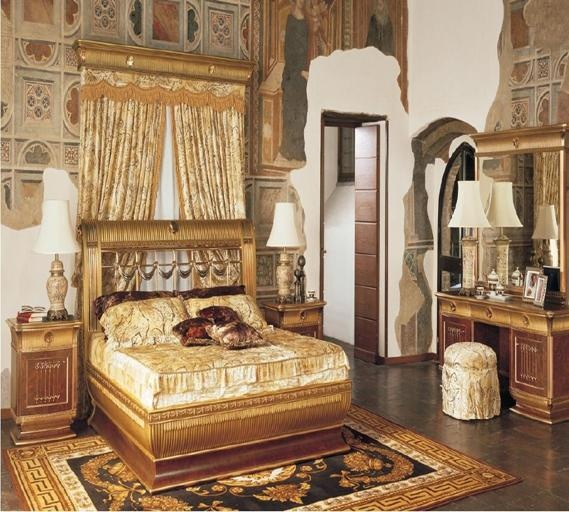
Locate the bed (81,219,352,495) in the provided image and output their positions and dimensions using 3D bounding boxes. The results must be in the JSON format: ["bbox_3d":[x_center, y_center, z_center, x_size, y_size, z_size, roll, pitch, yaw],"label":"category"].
[{"bbox_3d":[-0.697,0.768,5.087,1.950,2.066,2.002,-2,3,-26],"label":"bed"}]

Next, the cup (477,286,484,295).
[{"bbox_3d":[2.049,0.363,6.025,0.080,0.097,0.098,1,-2,-5],"label":"cup"}]

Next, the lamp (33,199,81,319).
[{"bbox_3d":[-1.984,0.022,5.077,0.351,1.029,0.513,-3,4,-22],"label":"lamp"}]

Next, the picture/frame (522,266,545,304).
[{"bbox_3d":[2.390,0.285,5.540,0.037,0.414,0.318,6,-4,-19],"label":"picture/frame"}]

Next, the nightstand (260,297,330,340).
[{"bbox_3d":[0.106,0.557,6.172,0.527,0.563,0.413,-1,0,-36],"label":"nightstand"}]

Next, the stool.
[{"bbox_3d":[1.699,1.159,5.490,0.536,0.655,0.593,-1,0,-11],"label":"stool"}]
